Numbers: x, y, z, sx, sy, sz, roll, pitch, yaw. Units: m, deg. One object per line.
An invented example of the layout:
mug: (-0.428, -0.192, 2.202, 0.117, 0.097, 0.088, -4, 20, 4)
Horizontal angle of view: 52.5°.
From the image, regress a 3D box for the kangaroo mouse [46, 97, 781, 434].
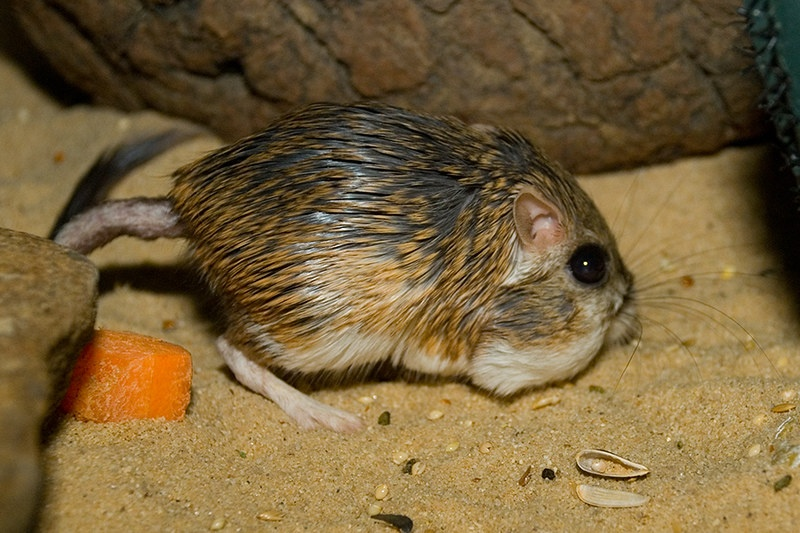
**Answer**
kangaroo mouse: (-0.119, 0.123, 4.868, 4.746, 1.639, 1.826, -1, 36, -16)
